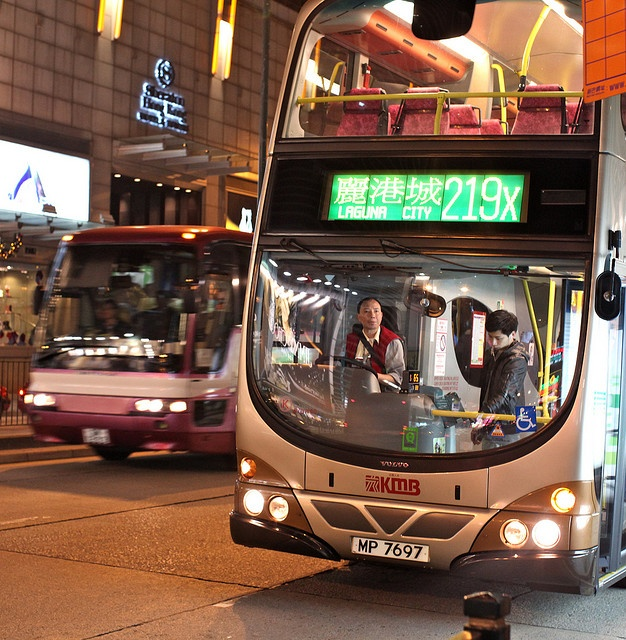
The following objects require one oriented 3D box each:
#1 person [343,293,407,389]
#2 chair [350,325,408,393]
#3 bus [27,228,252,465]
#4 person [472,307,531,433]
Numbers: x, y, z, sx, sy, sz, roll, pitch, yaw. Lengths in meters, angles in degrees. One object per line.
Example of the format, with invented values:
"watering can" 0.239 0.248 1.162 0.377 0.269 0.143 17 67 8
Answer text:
"person" 0.447 0.225 4.749 0.589 0.746 0.477 3 7 30
"chair" 0.503 0.275 4.790 0.288 0.459 0.549 -9 13 -39
"bus" -1.028 0.375 14.044 3.595 3.691 10.190 2 0 26
"person" 1.323 0.265 4.112 0.183 0.719 0.430 5 -8 -13
